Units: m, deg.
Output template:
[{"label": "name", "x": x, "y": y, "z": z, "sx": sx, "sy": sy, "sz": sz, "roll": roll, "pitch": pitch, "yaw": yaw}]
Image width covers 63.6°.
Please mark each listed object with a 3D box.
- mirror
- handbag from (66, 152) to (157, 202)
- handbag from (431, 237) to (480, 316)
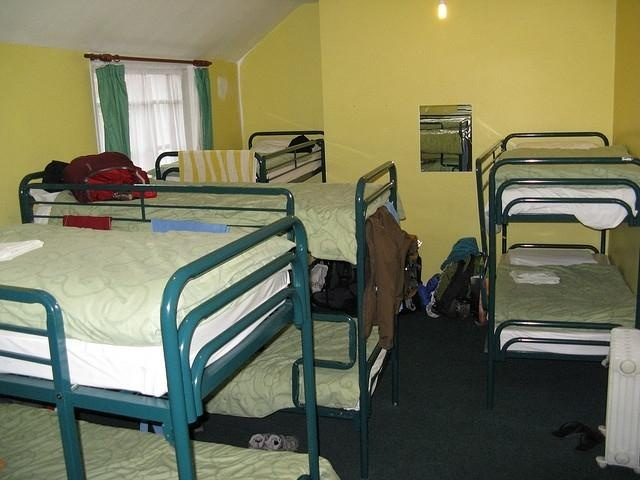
[{"label": "mirror", "x": 1.316, "y": -1.059, "z": 5.269, "sx": 0.724, "sy": 0.804, "sz": 0.061, "roll": 1, "pitch": 8, "yaw": 12}, {"label": "handbag", "x": -1.492, "y": -0.468, "z": 3.661, "sx": 0.516, "sy": 0.175, "sz": 0.434, "roll": -7, "pitch": 21, "yaw": -39}, {"label": "handbag", "x": 1.250, "y": 0.360, "z": 4.995, "sx": 0.249, "sy": 0.654, "sz": 0.523, "roll": 19, "pitch": 6, "yaw": -1}]
